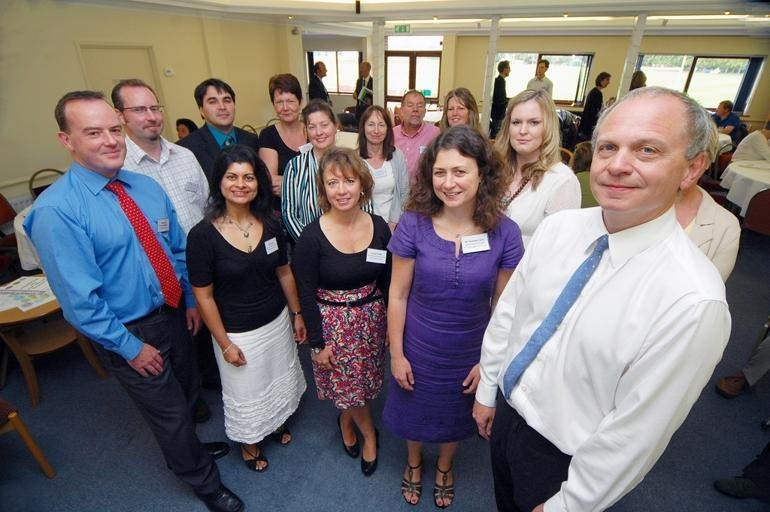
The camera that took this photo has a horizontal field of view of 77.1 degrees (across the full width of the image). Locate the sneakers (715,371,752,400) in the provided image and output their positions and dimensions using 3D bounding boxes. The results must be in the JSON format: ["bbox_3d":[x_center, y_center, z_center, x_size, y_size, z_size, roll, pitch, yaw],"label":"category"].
[{"bbox_3d":[3.060,1.123,4.224,0.357,0.265,0.140,0,11,0],"label":"sneakers"}]

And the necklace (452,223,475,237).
[{"bbox_3d":[0.552,-0.158,3.224,0.151,0.074,0.065,1,26,1],"label":"necklace"}]

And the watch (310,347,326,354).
[{"bbox_3d":[-0.487,0.683,3.511,0.096,0.049,0.021,5,26,11],"label":"watch"}]

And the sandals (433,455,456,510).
[{"bbox_3d":[0.460,1.675,3.615,0.122,0.149,0.359,-1,24,4],"label":"sandals"}]

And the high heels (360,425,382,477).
[{"bbox_3d":[-0.087,1.546,3.847,0.114,0.142,0.339,3,68,11],"label":"high heels"}]

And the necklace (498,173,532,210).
[{"bbox_3d":[0.988,-0.453,3.582,0.064,0.057,0.389,16,67,43],"label":"necklace"}]

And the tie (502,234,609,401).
[{"bbox_3d":[1.014,0.373,2.757,1.169,0.102,0.126,-50,44,-4],"label":"tie"}]

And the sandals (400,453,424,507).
[{"bbox_3d":[0.210,1.685,3.638,0.124,0.151,0.371,0,11,6],"label":"sandals"}]
